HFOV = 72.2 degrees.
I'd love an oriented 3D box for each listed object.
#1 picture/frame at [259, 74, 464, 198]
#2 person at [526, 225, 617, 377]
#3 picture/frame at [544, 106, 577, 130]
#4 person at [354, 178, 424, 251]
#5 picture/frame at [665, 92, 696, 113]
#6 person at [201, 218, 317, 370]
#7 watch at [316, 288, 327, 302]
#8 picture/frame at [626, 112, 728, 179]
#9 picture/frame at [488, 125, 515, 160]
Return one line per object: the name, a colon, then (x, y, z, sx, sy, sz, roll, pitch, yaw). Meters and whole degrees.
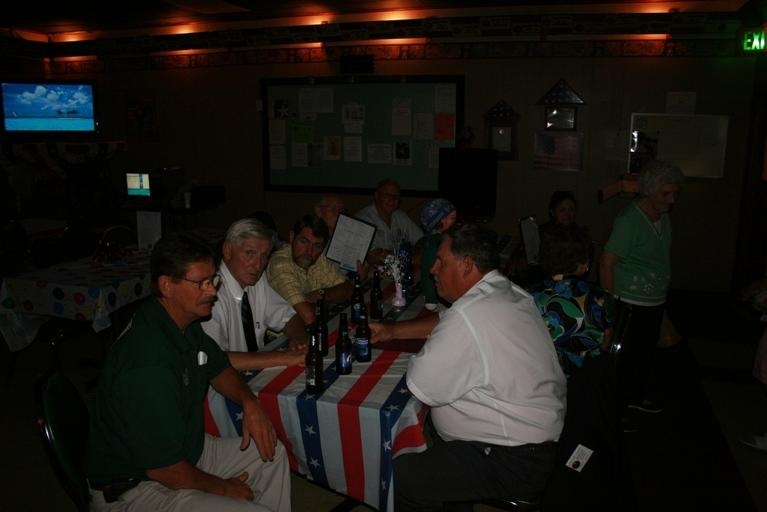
picture/frame: (-0.343, -1.713, 7.491, 2.932, 1.638, 0.052, 2, 11, 14)
person: (1.422, 0.385, 4.131, 0.717, 0.621, 1.732, 12, -16, 22)
picture/frame: (2.318, -1.787, 6.872, 0.402, 0.301, 0.025, 1, 10, 9)
person: (0.111, -0.475, 6.028, 0.885, 0.761, 0.468, -18, 31, -35)
picture/frame: (3.713, -1.908, 6.512, 0.285, 0.279, 0.084, 6, 10, 12)
person: (-0.892, 0.322, 3.559, 0.960, 1.020, 0.767, 5, 9, 2)
watch: (-0.489, 0.297, 4.058, 0.072, 0.096, 0.032, -30, -22, 27)
picture/frame: (3.606, -1.350, 6.330, 1.260, 0.893, 0.176, 3, 17, 14)
picture/frame: (1.601, -1.518, 7.067, 0.320, 0.427, 0.052, 3, 11, 21)
